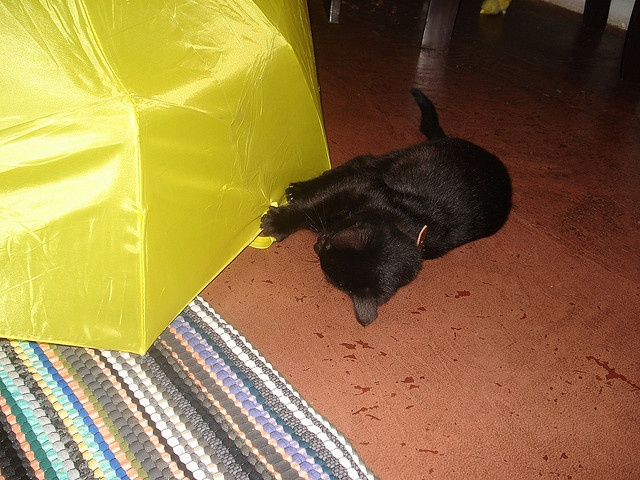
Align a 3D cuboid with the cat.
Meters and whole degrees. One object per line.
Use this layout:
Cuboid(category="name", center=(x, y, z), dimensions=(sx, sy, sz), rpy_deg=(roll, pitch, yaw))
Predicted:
Cuboid(category="cat", center=(0.264, -0.105, 1.734), dimensions=(0.719, 0.550, 0.306), rpy_deg=(-27, 6, -32))
